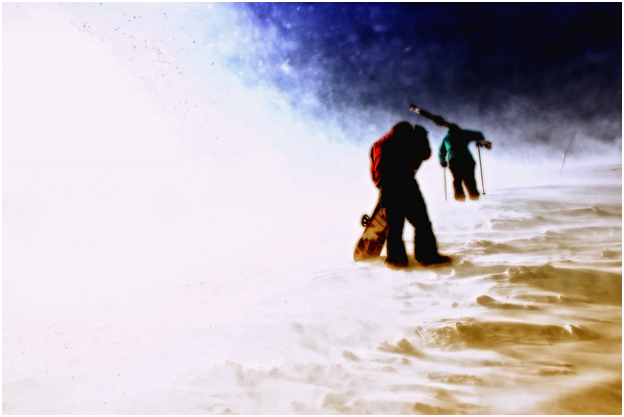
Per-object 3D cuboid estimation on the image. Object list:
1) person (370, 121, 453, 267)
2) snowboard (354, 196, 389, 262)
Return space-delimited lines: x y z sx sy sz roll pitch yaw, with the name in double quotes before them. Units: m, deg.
"person" 1.556 -0.282 8.579 1.241 2.256 0.790 1 13 31
"snowboard" 1.096 0.458 8.989 0.474 0.282 1.925 7 27 8
